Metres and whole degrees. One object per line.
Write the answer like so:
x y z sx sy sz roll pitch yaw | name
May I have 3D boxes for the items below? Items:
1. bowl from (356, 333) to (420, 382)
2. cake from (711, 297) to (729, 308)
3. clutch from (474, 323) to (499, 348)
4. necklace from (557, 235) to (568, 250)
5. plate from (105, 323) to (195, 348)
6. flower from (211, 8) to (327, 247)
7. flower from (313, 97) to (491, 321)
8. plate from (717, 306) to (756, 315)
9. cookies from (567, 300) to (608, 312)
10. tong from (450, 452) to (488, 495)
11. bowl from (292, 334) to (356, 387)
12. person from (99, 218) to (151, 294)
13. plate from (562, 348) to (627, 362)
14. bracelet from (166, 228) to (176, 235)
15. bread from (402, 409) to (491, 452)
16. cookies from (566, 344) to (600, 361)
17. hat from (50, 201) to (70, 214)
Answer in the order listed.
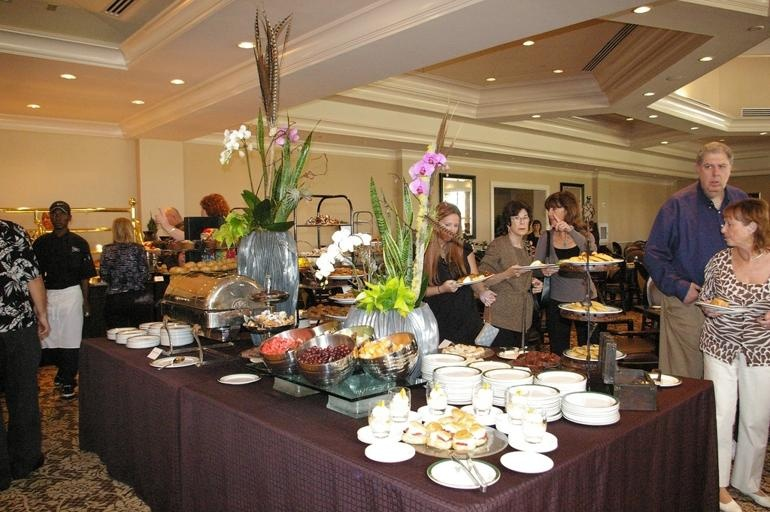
0.005 0.581 2.622 0.275 0.149 0.254 -13 -2 0 | bowl
2.142 0.297 3.201 0.070 0.020 0.075 10 15 41 | cake
0.761 0.589 3.889 0.204 0.190 0.061 30 -6 -35 | clutch
1.654 -0.125 4.687 0.123 0.108 0.036 2 -4 32 | necklace
-1.659 0.577 3.590 0.420 0.065 0.290 0 2 30 | plate
-0.816 -0.819 3.459 0.728 1.474 0.555 1 17 2 | flower
0.113 -0.169 2.691 0.518 0.976 0.394 2 3 21 | flower
2.185 0.343 3.139 0.110 0.023 0.104 -2 4 -29 | plate
1.352 0.342 3.303 0.195 0.036 0.180 0 0 3 | cookies
0.353 0.877 2.021 0.068 0.024 0.172 -3 13 -11 | tong
-0.278 0.592 2.605 0.257 0.131 0.259 -12 5 1 | bowl
-2.869 0.000 5.533 0.469 0.829 0.245 0 4 -27 | person
1.158 0.553 2.792 0.219 0.032 0.203 0 -4 1 | plate
-2.311 -0.261 5.430 0.079 0.032 0.082 2 -6 -10 | bracelet
0.275 0.775 2.201 0.232 0.062 0.196 -1 1 32 | bread
1.143 0.560 2.876 0.147 0.037 0.137 -4 5 -19 | cookies
-3.291 -0.486 5.100 0.140 0.129 0.170 0 3 -16 | hat
